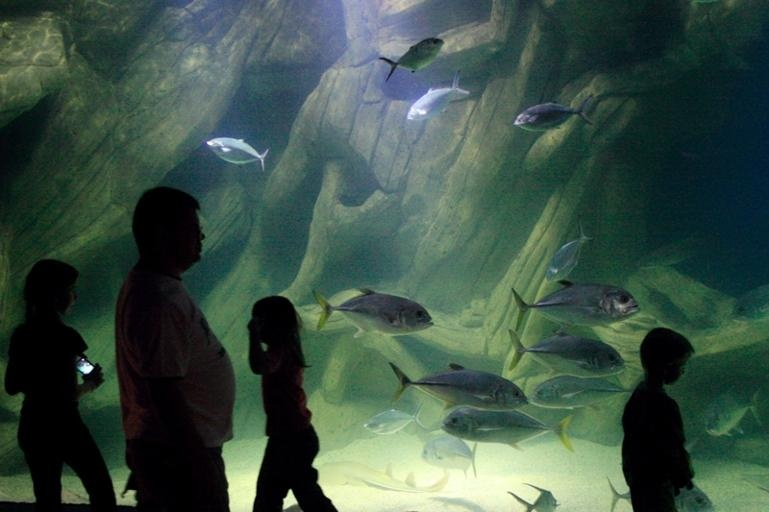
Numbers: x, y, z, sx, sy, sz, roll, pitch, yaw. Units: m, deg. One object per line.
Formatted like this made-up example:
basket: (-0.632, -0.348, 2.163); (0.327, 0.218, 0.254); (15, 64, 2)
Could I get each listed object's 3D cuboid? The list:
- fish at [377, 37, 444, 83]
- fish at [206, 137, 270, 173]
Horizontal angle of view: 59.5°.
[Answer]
fish: (0.481, -3.244, 10.878); (0.801, 0.501, 0.675); (-3, 11, -4)
fish: (-2.748, -1.969, 12.478); (0.948, 0.485, 0.349); (0, 11, 14)
